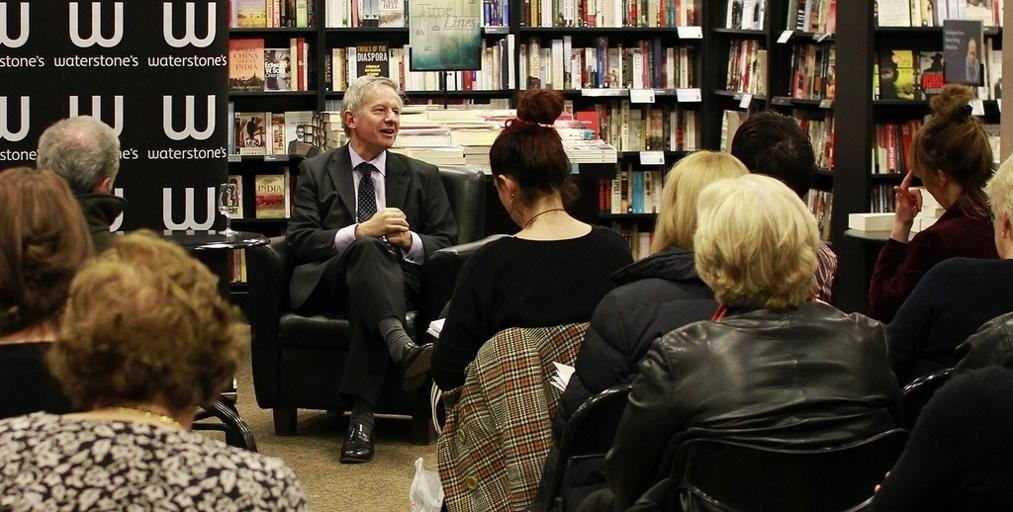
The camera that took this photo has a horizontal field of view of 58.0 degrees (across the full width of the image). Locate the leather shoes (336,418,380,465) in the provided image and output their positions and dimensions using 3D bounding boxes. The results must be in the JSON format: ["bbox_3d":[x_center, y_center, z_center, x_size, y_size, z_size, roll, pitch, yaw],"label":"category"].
[{"bbox_3d":[-0.810,1.016,5.038,0.176,0.173,0.463,4,6,0],"label":"leather shoes"}]
